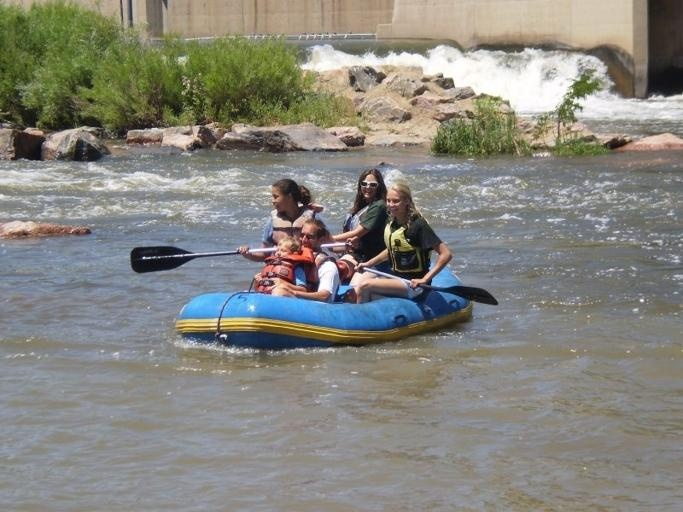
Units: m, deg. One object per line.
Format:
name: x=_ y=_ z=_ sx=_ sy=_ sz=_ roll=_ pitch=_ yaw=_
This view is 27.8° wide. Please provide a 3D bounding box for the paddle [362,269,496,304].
paddle: x=1.147 y=0.444 z=19.096 sx=1.802 sy=0.214 sz=0.082 roll=12 pitch=33 yaw=12
